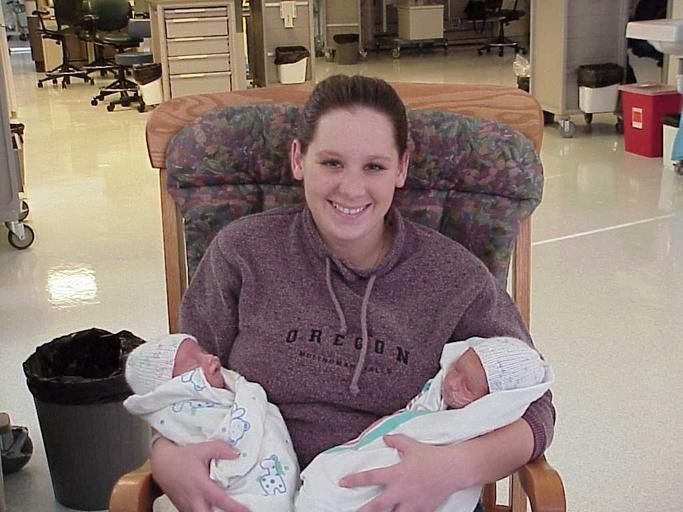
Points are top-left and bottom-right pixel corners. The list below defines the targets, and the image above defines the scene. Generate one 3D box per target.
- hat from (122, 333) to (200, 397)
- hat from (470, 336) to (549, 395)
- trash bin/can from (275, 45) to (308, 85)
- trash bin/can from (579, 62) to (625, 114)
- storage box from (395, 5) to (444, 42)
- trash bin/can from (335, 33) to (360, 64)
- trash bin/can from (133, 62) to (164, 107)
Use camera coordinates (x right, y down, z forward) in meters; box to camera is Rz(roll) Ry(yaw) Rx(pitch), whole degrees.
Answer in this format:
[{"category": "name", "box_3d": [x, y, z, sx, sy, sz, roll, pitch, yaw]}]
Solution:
[{"category": "hat", "box_3d": [-0.446, 0.276, 1.355, 0.142, 0.115, 0.109, -20, 9, 19]}, {"category": "hat", "box_3d": [0.361, 0.229, 1.253, 0.201, 0.062, 0.151, 4, 37, 12]}, {"category": "trash bin/can", "box_3d": [-0.660, -2.525, 7.503, 0.505, 0.416, 0.379, -16, 34, -28]}, {"category": "trash bin/can", "box_3d": [2.695, -1.745, 5.880, 0.418, 0.449, 0.380, 0, 25, 12]}, {"category": "storage box", "box_3d": [1.777, -5.141, 12.430, 0.969, 0.785, 0.673, 0, 17, 5]}, {"category": "trash bin/can", "box_3d": [0.192, -4.413, 12.254, 0.612, 0.661, 0.666, -6, 11, -10]}, {"category": "trash bin/can", "box_3d": [-2.474, -2.180, 7.140, 0.401, 0.470, 0.396, 12, 31, 13]}]
